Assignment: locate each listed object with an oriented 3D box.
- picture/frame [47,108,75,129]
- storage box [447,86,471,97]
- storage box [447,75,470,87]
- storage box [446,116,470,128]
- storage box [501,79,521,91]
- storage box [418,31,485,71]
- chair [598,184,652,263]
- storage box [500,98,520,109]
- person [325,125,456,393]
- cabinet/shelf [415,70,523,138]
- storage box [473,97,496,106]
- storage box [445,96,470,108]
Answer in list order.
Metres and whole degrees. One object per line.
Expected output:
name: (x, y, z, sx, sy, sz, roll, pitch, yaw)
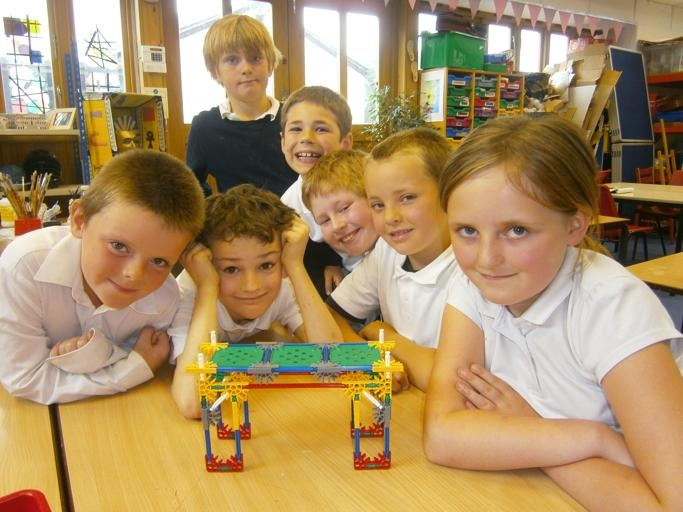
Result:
picture/frame: (-1.670, -0.815, 3.332, 0.155, 0.123, 0.467, -6, 14, -26)
storage box: (1.358, -1.906, 6.484, 0.229, 0.081, 0.156, -2, 7, -8)
storage box: (1.348, -2.017, 6.440, 0.387, 0.182, 0.087, -11, 17, -41)
storage box: (1.361, -1.569, 6.568, 0.152, 0.077, 0.212, 0, 6, 3)
storage box: (2.061, -2.082, 6.822, 0.211, 0.090, 0.138, -1, 16, 0)
storage box: (1.311, -2.289, 6.516, 0.665, 0.342, 0.447, -7, 14, -37)
chair: (2.266, -0.220, 4.562, 0.434, 0.619, 0.340, 1, 0, -19)
storage box: (2.077, -1.871, 6.906, 0.200, 0.078, 0.161, -2, 29, 3)
person: (0.200, 0.014, 1.723, 0.495, 0.788, 0.415, 12, 24, 44)
cabinet/shelf: (1.779, -1.845, 6.644, 0.993, 0.637, 0.346, 16, 26, 40)
storage box: (1.699, -1.835, 6.691, 0.135, 0.069, 0.201, 0, 13, 2)
storage box: (1.362, -1.770, 6.502, 0.209, 0.079, 0.158, 1, 13, 8)
